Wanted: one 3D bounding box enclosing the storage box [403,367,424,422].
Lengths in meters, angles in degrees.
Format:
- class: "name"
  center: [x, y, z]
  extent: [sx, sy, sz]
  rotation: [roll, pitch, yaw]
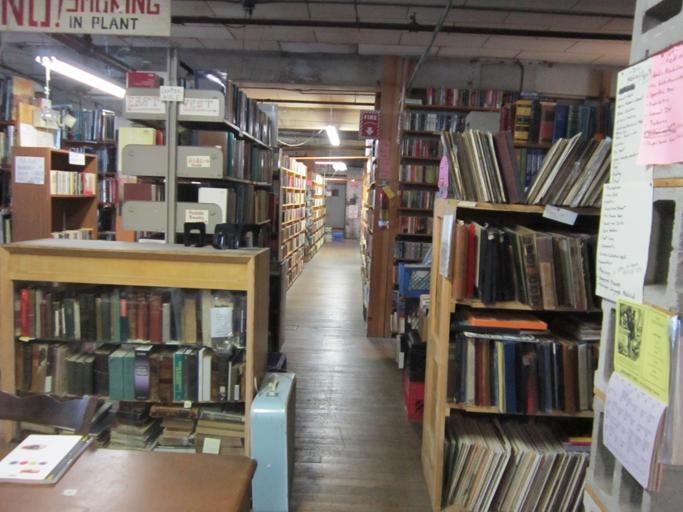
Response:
- class: "storage box"
  center: [0.640, 1.218, 5.183]
  extent: [0.241, 0.426, 0.458]
  rotation: [0, 2, 1]
